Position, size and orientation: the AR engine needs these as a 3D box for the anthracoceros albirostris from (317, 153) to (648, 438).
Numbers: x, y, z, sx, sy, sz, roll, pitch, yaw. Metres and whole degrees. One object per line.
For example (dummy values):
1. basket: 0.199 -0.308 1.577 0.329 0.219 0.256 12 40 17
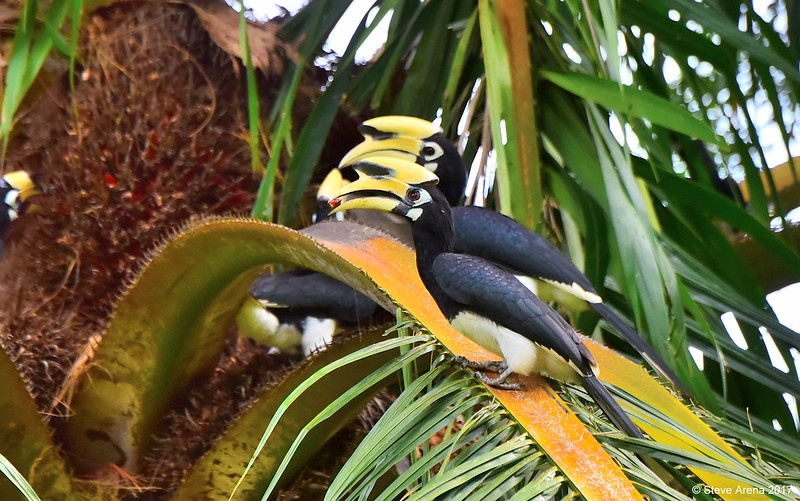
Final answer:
1. anthracoceros albirostris: 0.295 0.126 2.807 0.986 0.673 0.276 11 -18 -3

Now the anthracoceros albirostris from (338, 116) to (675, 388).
1. anthracoceros albirostris: 0.330 0.203 3.593 1.427 0.708 0.407 21 -28 -38
